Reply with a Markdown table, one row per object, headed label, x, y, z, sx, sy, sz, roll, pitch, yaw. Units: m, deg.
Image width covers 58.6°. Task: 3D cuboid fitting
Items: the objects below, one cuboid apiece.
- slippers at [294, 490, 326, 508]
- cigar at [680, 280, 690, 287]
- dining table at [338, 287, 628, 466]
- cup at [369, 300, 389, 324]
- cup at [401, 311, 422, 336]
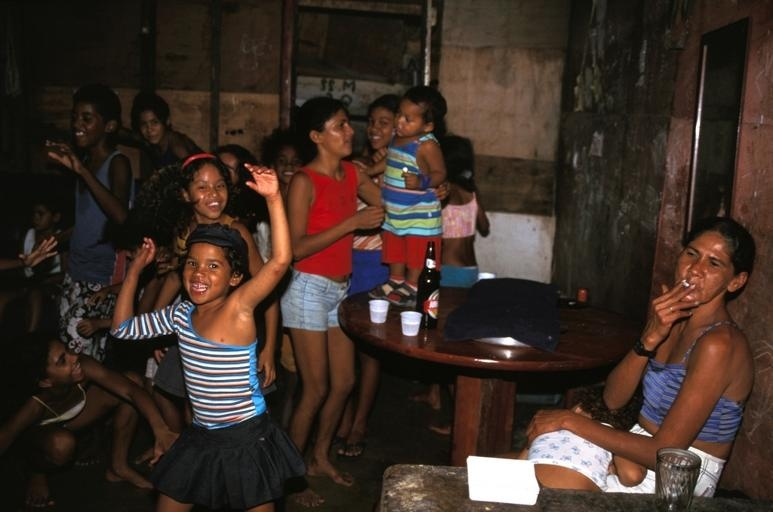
| label | x | y | z | sx | sy | sz | roll | pitch | yaw |
| --- | --- | --- | --- | --- | --- | --- | --- | --- | --- |
| slippers | -0.572 | 1.772 | 5.041 | 0.230 | 0.103 | 0.120 | 1 | 10 | -19 |
| cigar | 1.769 | 0.163 | 4.067 | 0.043 | 0.037 | 0.015 | -2 | -22 | 9 |
| dining table | 0.578 | 0.970 | 4.597 | 1.315 | 0.896 | 1.302 | -1 | 15 | -23 |
| cup | -0.057 | 0.376 | 4.684 | 0.154 | 0.145 | 0.149 | 3 | 2 | 0 |
| cup | 0.156 | 0.425 | 4.506 | 0.128 | 0.150 | 0.236 | 5 | 10 | 5 |
